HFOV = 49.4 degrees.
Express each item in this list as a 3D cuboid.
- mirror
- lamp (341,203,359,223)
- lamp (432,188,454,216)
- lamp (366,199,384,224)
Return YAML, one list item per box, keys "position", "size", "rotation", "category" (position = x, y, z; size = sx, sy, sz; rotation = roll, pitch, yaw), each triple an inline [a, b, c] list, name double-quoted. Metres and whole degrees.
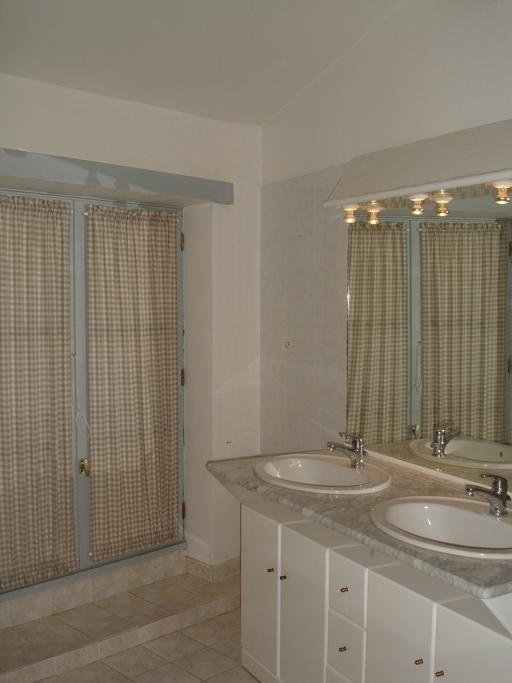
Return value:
- position: [0.585, -0.061, 2.094]
  size: [0.087, 0.732, 0.826]
  rotation: [-2, 0, -28]
  category: "mirror"
- position: [0.370, -0.502, 2.188]
  size: [0.068, 0.080, 0.074]
  rotation: [-1, 9, 6]
  category: "lamp"
- position: [0.624, -0.463, 1.856]
  size: [0.063, 0.091, 0.063]
  rotation: [-14, 16, -32]
  category: "lamp"
- position: [0.457, -0.502, 2.146]
  size: [0.059, 0.094, 0.062]
  rotation: [-1, 8, 6]
  category: "lamp"
